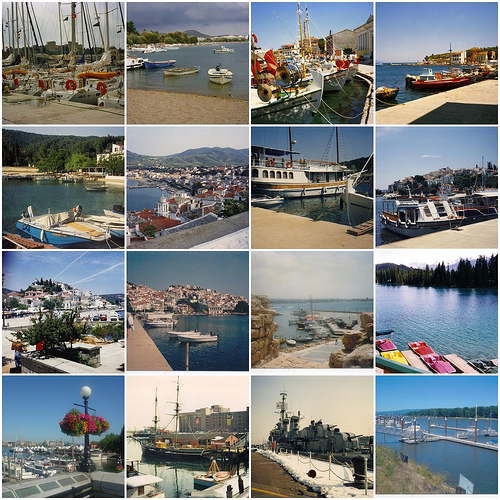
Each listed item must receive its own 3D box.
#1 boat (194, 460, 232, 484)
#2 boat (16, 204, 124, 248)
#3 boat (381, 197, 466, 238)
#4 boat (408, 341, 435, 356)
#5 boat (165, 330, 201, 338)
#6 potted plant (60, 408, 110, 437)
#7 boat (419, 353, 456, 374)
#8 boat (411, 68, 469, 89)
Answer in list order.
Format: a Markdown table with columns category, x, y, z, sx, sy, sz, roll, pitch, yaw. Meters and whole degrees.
| category | x | y | z | sx | sy | sz | roll | pitch | yaw |
| --- | --- | --- | --- | --- | --- | --- | --- | --- | --- |
| boat | -0.455 | 2.562 | 5.853 | 0.276 | 0.168 | 0.273 | -6 | -14 | 18 |
| boat | -2.117 | -0.263 | 6.136 | 0.913 | 0.335 | 0.647 | 14 | 31 | 7 |
| boat | 2.128 | -0.412 | 6.245 | 0.915 | 0.331 | 0.518 | -3 | 3 | -20 |
| boat | 2.075 | 1.186 | 6.060 | 0.153 | 0.066 | 0.252 | -15 | 37 | -17 |
| boat | -0.787 | 1.006 | 5.959 | 0.409 | 0.098 | 0.136 | 3 | -23 | -3 |
| potted plant | -1.977 | 2.036 | 5.887 | 0.393 | 0.191 | 0.379 | 11 | -23 | -13 |
| boat | 2.281 | 1.365 | 6.034 | 0.234 | 0.074 | 0.313 | -18 | 41 | -18 |
| boat | 2.441 | -2.235 | 6.603 | 0.750 | 0.296 | 0.281 | 0 | 23 | 3 |
